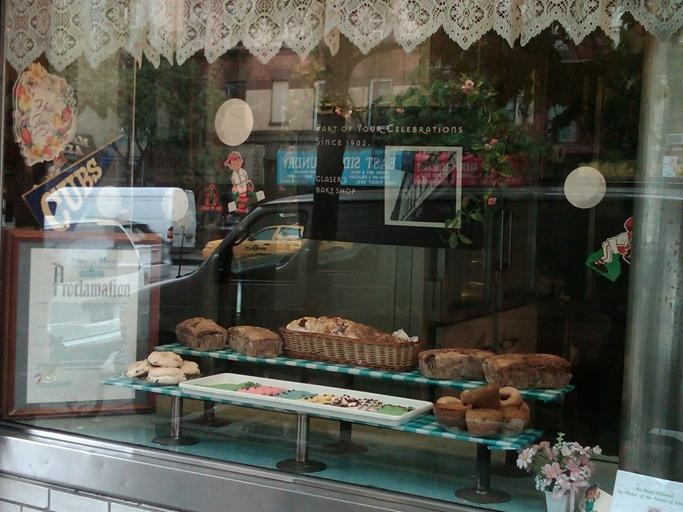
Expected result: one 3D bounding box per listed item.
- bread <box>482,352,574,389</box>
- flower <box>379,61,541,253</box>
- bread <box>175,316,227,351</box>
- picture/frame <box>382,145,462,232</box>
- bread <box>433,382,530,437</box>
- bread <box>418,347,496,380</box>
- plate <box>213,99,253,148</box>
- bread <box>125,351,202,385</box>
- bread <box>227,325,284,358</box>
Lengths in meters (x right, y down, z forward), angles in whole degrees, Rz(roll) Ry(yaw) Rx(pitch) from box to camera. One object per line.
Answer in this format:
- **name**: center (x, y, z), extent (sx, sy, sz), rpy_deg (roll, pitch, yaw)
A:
- **bread**: center (0.992, 0.605, 3.884), extent (0.376, 0.135, 0.195), rpy_deg (0, -2, 8)
- **flower**: center (0.626, -0.533, 3.970), extent (1.027, 0.838, 0.335), rpy_deg (-1, 2, 28)
- **bread**: center (-0.865, 0.476, 4.436), extent (0.307, 0.139, 0.184), rpy_deg (2, 1, 40)
- **picture/frame**: center (0.469, -0.394, 4.097), extent (0.594, 0.472, 0.023), rpy_deg (4, 3, 16)
- **bread**: center (0.722, 0.790, 3.754), extent (0.415, 0.157, 0.274), rpy_deg (-2, -4, 15)
- **bread**: center (0.595, 0.585, 3.925), extent (0.252, 0.070, 0.232), rpy_deg (-1, -1, 36)
- **plate**: center (-0.640, -0.812, 4.381), extent (0.308, 0.256, 0.070), rpy_deg (19, 14, 17)
- **bread**: center (-1.084, 0.675, 4.423), extent (0.305, 0.074, 0.245), rpy_deg (4, 3, 25)
- **bread**: center (-0.520, 0.499, 4.304), extent (0.349, 0.147, 0.190), rpy_deg (2, -4, 41)
